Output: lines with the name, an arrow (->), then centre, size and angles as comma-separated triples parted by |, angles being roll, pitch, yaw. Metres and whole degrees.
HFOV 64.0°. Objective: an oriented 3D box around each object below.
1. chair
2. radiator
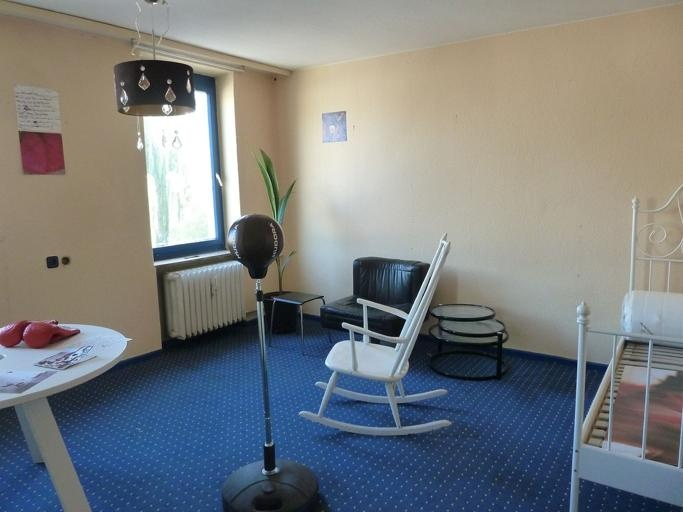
chair -> 0.247, 0.533, 4.082 | 1.136, 1.371, 0.801 | -2, 14, -11
radiator -> -1.400, 0.446, 5.446 | 0.136, 0.562, 0.723 | 0, 7, 37
